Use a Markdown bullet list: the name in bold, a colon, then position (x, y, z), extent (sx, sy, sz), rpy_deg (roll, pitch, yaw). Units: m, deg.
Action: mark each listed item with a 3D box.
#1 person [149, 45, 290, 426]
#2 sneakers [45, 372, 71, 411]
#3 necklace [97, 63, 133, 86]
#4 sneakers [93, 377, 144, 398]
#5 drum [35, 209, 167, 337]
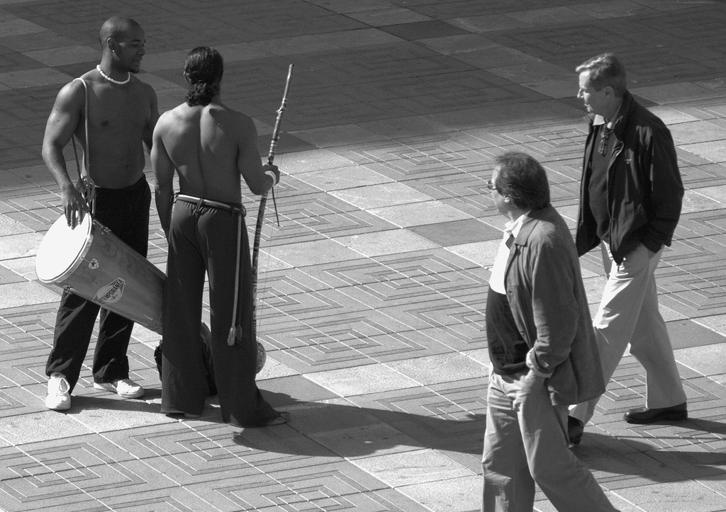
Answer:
- **person**: position (-1.106, -0.128, 13.430), extent (0.891, 2.805, 0.562), rpy_deg (-2, 15, 5)
- **sneakers**: position (-2.311, 1.013, 13.707), extent (0.174, 0.123, 0.307), rpy_deg (-6, 39, -24)
- **necklace**: position (-1.884, -1.347, 13.591), extent (0.203, 0.041, 0.187), rpy_deg (31, 27, 3)
- **sneakers**: position (-1.847, 0.994, 13.866), extent (0.426, 0.110, 0.137), rpy_deg (4, 24, 16)
- **drum**: position (-1.985, 0.148, 13.712), extent (1.127, 0.583, 0.582), rpy_deg (26, 29, -42)
